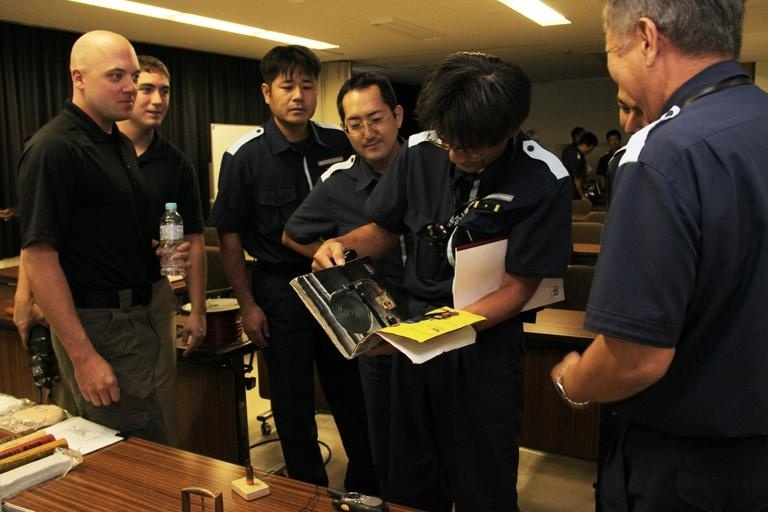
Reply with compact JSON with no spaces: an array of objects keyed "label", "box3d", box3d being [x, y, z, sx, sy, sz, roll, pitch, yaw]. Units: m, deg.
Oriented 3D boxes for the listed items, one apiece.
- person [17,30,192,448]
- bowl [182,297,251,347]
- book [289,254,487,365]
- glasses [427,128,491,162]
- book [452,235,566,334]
[{"label":"person","box3d":[-1.046,-0.031,2.163,0.490,1.565,0.400,-7,13,-26]},{"label":"bowl","box3d":[-0.776,0.343,2.875,0.223,0.132,0.227,-9,-2,0]},{"label":"book","box3d":[0.016,0.169,1.800,0.531,0.256,0.320,9,16,41]},{"label":"glasses","box3d":[0.221,-0.357,1.883,0.163,0.091,0.295,-1,12,2]},{"label":"book","box3d":[0.347,0.109,1.848,0.387,0.033,0.276,26,28,25]}]
